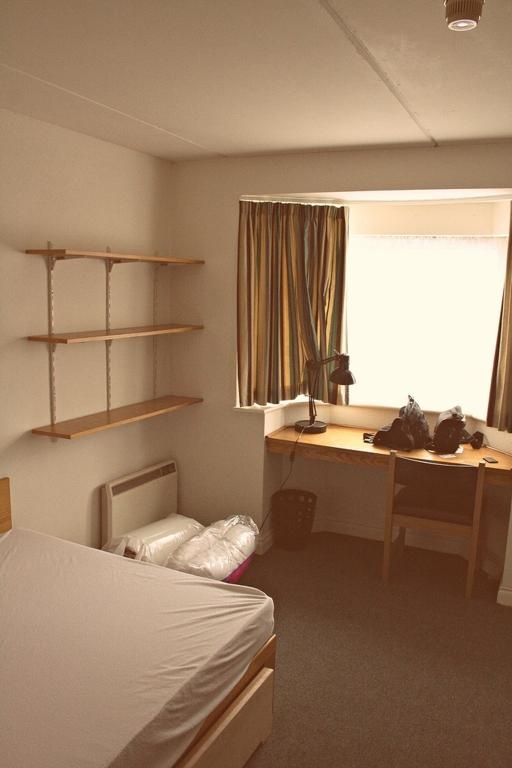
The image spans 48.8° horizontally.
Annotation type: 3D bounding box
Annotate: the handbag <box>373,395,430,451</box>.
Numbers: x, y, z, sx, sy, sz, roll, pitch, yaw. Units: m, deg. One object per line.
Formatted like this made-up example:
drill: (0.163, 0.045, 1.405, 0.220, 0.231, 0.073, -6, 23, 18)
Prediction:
handbag: (0.837, 0.246, 3.317, 0.341, 0.351, 0.320, 1, -16, -1)

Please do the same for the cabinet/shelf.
cabinet/shelf: (-0.700, -0.255, 3.036, 0.216, 0.967, 1.134, 5, 9, 24)

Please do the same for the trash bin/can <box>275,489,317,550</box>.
trash bin/can: (0.223, 0.819, 3.433, 0.287, 0.347, 0.315, 1, -5, 16)

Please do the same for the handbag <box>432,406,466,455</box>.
handbag: (1.084, 0.254, 3.199, 0.140, 0.276, 0.270, 9, 11, 13)

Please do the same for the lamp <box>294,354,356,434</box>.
lamp: (0.416, 0.059, 3.443, 0.290, 0.498, 0.536, -2, 7, -24)
